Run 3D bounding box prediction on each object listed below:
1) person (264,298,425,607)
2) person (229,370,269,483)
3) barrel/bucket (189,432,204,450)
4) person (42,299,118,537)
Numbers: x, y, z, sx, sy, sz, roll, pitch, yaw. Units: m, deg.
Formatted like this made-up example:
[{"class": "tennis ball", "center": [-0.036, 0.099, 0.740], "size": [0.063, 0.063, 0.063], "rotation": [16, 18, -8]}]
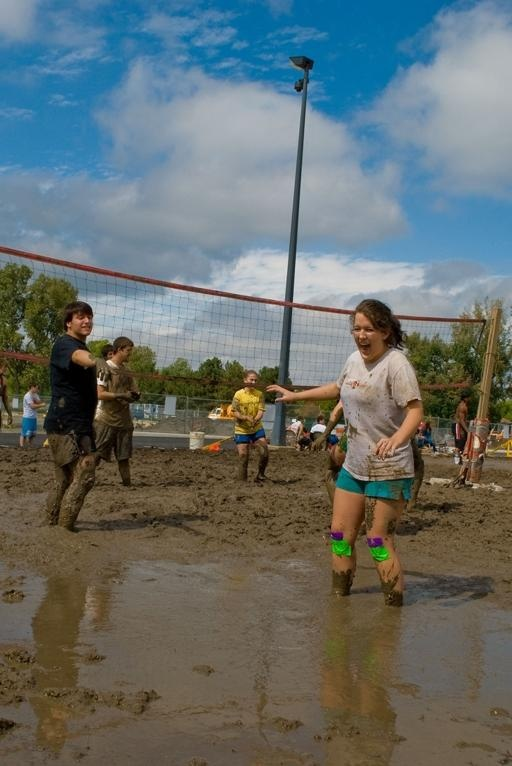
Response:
[{"class": "person", "center": [0.615, 0.398, 3.358], "size": [0.439, 1.265, 0.677], "rotation": [5, -2, 8]}, {"class": "person", "center": [-0.084, 0.587, 8.500], "size": [0.537, 1.271, 0.906], "rotation": [5, -2, 1]}, {"class": "barrel/bucket", "center": [-1.526, 1.520, 16.550], "size": [0.444, 0.426, 0.427], "rotation": [1, 4, 0]}, {"class": "person", "center": [-1.366, 0.267, 4.755], "size": [0.425, 1.685, 0.724], "rotation": [6, -2, -18]}]
